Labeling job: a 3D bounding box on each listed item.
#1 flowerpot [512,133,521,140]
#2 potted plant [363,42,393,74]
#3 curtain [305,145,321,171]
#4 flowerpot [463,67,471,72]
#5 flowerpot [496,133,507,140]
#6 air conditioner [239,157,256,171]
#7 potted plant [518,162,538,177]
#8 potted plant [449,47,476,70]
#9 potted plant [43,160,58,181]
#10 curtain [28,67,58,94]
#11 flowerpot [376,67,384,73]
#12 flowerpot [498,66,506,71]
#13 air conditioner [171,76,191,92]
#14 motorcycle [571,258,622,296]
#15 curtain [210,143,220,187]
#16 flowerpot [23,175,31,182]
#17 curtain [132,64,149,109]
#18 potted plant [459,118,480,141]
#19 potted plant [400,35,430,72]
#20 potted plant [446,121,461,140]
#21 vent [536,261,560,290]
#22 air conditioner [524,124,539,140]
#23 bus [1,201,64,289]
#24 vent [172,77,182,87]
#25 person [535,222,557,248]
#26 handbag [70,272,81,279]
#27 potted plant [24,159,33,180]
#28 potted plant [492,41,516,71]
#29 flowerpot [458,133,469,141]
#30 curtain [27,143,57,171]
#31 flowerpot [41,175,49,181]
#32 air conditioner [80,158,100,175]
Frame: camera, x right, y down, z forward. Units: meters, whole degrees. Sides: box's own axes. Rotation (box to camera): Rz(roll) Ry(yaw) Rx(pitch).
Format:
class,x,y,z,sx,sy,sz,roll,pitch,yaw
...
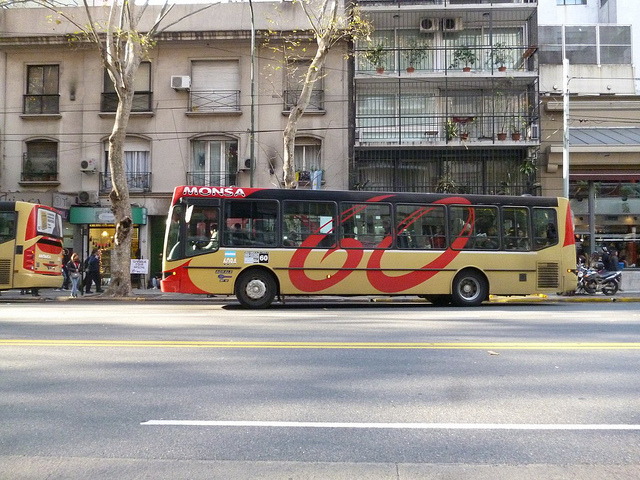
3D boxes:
class,x,y,z,sx,sy,sz,roll,pitch,yaw
flowerpot,8.362,-4.416,38.831,0.271,0.202,0.271,-1,2,-14
potted plant,2.595,-7.943,40.211,1.204,1.249,0.802,-6,1,-34
curtain,-0.342,-3.664,40.077,0.647,1.024,0.311,-1,11,-4
flowerpot,6.287,-7.347,39.301,0.203,0.190,0.390,-10,15,-38
flowerpot,7.760,-4.427,38.897,0.347,0.296,0.455,2,12,9
air conditioner,-3.175,-3.324,39.825,0.731,0.562,0.384,0,11,2
potted plant,8.868,-3.014,39.051,0.678,0.716,0.996,1,12,8
potted plant,6.309,-8.002,40.163,1.083,0.947,0.534,2,12,14
potted plant,-11.999,-3.139,40.783,0.472,0.850,0.745,-11,16,-43
curtain,-12.476,-7.237,41.122,1.208,1.235,0.078,-2,8,-9
flowerpot,2.614,-7.424,39.778,0.303,0.216,0.441,2,12,10
flowerpot,7.888,-7.376,39.309,0.336,0.236,0.222,-10,15,-39
air conditioner,-6.090,-6.864,39.857,0.918,0.689,0.501,0,3,3
motorcycle,10.286,1.456,33.942,1.973,1.251,0.974,0,-5,33
curtain,-4.644,-3.371,40.226,0.460,1.767,0.645,-2,11,-6
flowerpot,-13.077,-2.766,40.631,0.336,0.254,0.228,-3,12,-12
curtain,-7.996,-6.850,40.709,1.080,2.191,0.093,-14,37,-36
potted plant,6.493,-4.817,39.611,0.553,0.870,1.631,4,12,19
potted plant,4.157,-8.338,40.292,1.224,1.340,1.188,0,11,4
potted plant,5.753,-4.733,39.374,0.671,0.724,0.722,-1,2,6
vent,7.241,1.156,29.077,0.830,0.852,0.479,6,-2,-6
air conditioner,9.157,-4.684,39.470,0.748,0.732,0.390,0,-5,-30
bus,-10.137,0.225,31.985,1.638,3.438,1.653,5,3,-34
vent,-6.220,-6.875,39.685,0.465,0.402,0.096,2,12,13
person,7.243,-0.132,29.313,0.729,0.876,0.618,0,-4,13
handbag,-9.416,1.345,35.226,0.249,0.278,0.574,4,12,20
potted plant,-13.056,-3.150,40.788,0.337,0.836,0.323,-2,11,-6
potted plant,8.048,-8.021,39.974,1.184,1.370,1.036,9,20,40
flowerpot,6.124,-4.370,39.024,0.435,0.310,0.239,-2,-7,10
curtain,-12.450,-3.676,40.906,1.207,1.267,0.139,-1,-5,-3
flowerpot,-12.294,-2.775,40.706,0.244,0.185,0.230,1,0,-6
air conditioner,-10.189,-3.254,40.188,0.588,0.456,0.599,0,-4,-1
